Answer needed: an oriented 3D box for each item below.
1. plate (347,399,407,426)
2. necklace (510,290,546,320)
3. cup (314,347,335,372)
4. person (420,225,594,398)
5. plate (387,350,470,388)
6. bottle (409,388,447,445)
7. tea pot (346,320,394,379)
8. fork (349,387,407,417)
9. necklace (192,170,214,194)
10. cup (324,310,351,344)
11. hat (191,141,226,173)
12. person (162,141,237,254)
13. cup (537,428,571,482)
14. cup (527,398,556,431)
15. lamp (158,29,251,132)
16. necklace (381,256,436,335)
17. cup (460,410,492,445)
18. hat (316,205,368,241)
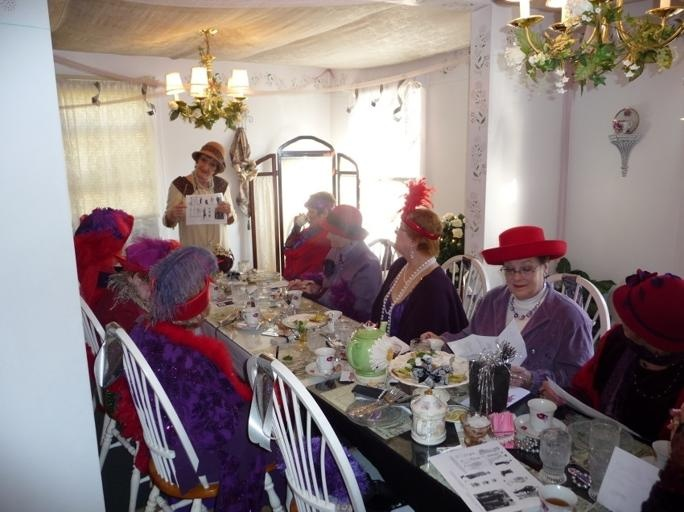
[{"bbox_3d":[0.128,0.587,1.836,0.225,0.029,0.154,2,9,15],"label":"plate"},{"bbox_3d":[0.857,0.238,2.341,0.110,0.087,0.145,0,-1,10],"label":"necklace"},{"bbox_3d":[-0.076,0.459,2.208,0.081,0.082,0.095,-2,11,-19],"label":"cup"},{"bbox_3d":[0.790,0.269,2.406,0.607,0.783,0.856,2,2,-30],"label":"person"},{"bbox_3d":[0.339,0.482,1.999,0.314,0.138,0.323,1,9,11],"label":"plate"},{"bbox_3d":[0.293,0.555,1.713,0.118,0.168,0.120,1,5,0],"label":"bottle"},{"bbox_3d":[0.117,0.411,2.093,0.256,0.200,0.180,0,3,-43],"label":"tea pot"},{"bbox_3d":[0.142,0.566,1.910,0.098,0.028,0.155,16,18,43],"label":"fork"},{"bbox_3d":[-1.290,-0.700,4.640,0.184,0.213,0.244,4,-15,-9],"label":"necklace"},{"bbox_3d":[-0.025,0.368,2.536,0.115,0.103,0.131,-2,15,-18],"label":"cup"},{"bbox_3d":[-1.232,-1.002,4.743,0.354,0.204,0.396,26,0,-16],"label":"hat"},{"bbox_3d":[-1.330,-0.312,4.780,0.638,1.465,0.620,-11,22,-32],"label":"person"},{"bbox_3d":[0.651,0.632,1.557,0.089,0.149,0.092,1,0,0],"label":"cup"},{"bbox_3d":[0.680,0.547,1.720,0.086,0.079,0.087,2,4,0],"label":"cup"},{"bbox_3d":[-1.109,-1.507,4.171,0.654,0.778,0.661,7,14,41],"label":"lamp"},{"bbox_3d":[0.377,0.239,2.799,0.207,0.403,0.404,2,3,-18],"label":"necklace"},{"bbox_3d":[0.441,0.607,1.704,0.102,0.100,0.085,3,19,10],"label":"cup"},{"bbox_3d":[0.009,-0.241,3.536,0.253,0.137,0.244,18,19,9],"label":"hat"}]
